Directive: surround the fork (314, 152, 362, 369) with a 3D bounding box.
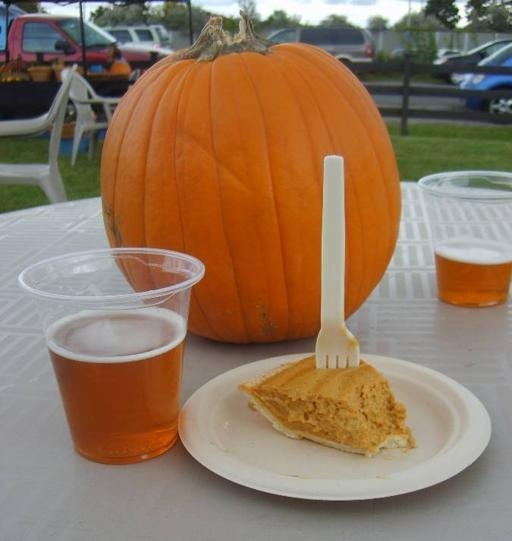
[{"bbox_3d":[0.061,-0.008,0.580,0.064,0.196,0.061,12,28,12],"label":"fork"}]

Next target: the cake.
[{"bbox_3d":[0.066,0.115,0.592,0.120,0.081,0.139,-4,14,-17],"label":"cake"}]

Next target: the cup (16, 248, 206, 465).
[{"bbox_3d":[-0.144,0.077,0.662,0.206,0.209,0.220,0,18,0],"label":"cup"}]

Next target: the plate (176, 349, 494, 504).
[{"bbox_3d":[0.074,0.145,0.574,0.298,0.026,0.256,-4,17,-4],"label":"plate"}]

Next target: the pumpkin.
[{"bbox_3d":[-0.020,-0.141,0.923,0.428,0.447,0.363,-8,20,-13],"label":"pumpkin"}]
